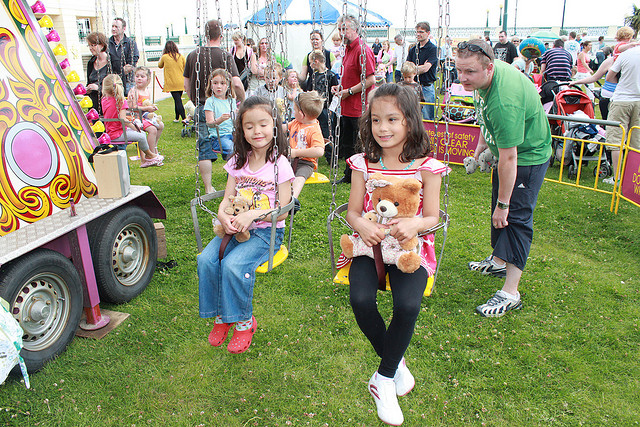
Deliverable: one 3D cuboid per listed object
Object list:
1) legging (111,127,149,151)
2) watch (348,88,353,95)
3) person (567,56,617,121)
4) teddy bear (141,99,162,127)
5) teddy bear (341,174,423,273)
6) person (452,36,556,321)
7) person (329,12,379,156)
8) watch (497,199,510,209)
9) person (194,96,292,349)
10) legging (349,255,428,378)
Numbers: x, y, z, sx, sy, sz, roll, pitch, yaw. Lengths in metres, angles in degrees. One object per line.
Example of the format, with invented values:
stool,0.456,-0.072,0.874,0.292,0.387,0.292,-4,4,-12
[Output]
legging,-3.267,-1.326,7.370,0.391,0.559,0.400,11,12,33
watch,0.444,-1.792,6.239,0.050,0.078,0.081,-1,30,1
person,4.897,-2.206,7.567,1.242,1.080,0.603,-17,26,-41
teddy bear,-3.194,-1.913,8.092,0.298,0.476,0.718,-5,20,-15
teddy bear,0.537,-0.083,3.321,0.753,0.826,0.600,8,12,34
person,1.689,-0.371,4.030,0.795,2.391,1.268,11,22,27
person,0.490,-1.670,6.460,0.737,2.424,0.826,-11,20,-16
watch,1.599,-0.087,3.748,0.094,0.082,0.052,6,20,14
person,-0.616,0.079,3.491,0.720,1.967,0.860,6,20,14
legging,0.452,0.688,3.011,0.566,0.781,0.503,0,-3,2
